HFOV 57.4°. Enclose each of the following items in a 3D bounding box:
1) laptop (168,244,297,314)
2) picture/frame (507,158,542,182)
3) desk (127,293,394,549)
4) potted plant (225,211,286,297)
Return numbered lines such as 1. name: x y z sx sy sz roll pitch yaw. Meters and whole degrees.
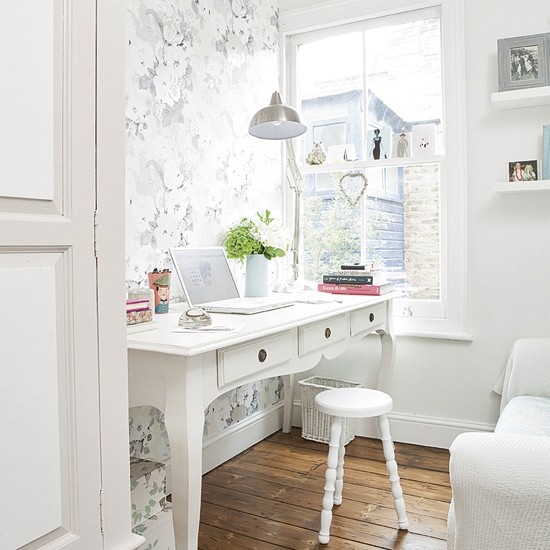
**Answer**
1. laptop: -0.171 0.019 1.915 0.288 0.207 0.319 -1 2 24
2. picture/frame: 1.166 -0.491 2.353 0.129 0.151 0.016 -2 -7 4
3. desk: 0.026 0.394 1.779 0.327 0.540 1.269 1 3 34
4. potted plant: -0.022 -0.071 2.281 0.277 0.494 0.351 -1 0 9
